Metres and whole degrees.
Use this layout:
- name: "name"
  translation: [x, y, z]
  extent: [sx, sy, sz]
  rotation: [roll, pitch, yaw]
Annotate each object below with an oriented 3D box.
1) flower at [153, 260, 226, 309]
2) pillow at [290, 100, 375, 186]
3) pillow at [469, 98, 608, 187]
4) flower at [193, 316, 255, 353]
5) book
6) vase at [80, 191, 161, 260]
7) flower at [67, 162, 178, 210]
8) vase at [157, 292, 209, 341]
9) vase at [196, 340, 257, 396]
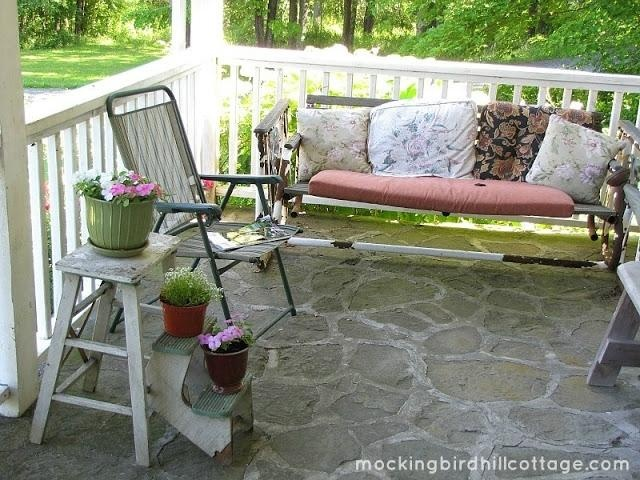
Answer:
- name: "flower"
  translation: [-0.483, 0.198, 1.933]
  extent: [0.163, 0.079, 0.167]
  rotation: [-6, -15, 29]
- name: "pillow"
  translation: [0.128, -0.703, 3.736]
  extent: [0.617, 0.506, 0.237]
  rotation: [3, -7, 32]
- name: "pillow"
  translation: [1.562, -0.610, 3.615]
  extent: [0.880, 0.202, 0.887]
  rotation: [-2, 55, 13]
- name: "flower"
  translation: [-0.352, 0.351, 1.820]
  extent: [0.167, 0.048, 0.154]
  rotation: [6, 24, 14]
- name: "book"
  translation: [-0.357, -0.014, 2.571]
  extent: [0.252, 0.047, 0.222]
  rotation: [-14, 18, -15]
- name: "vase"
  translation: [-0.719, -0.062, 1.870]
  extent: [0.257, 0.155, 0.246]
  rotation: [4, 9, -16]
- name: "flower"
  translation: [-0.720, -0.193, 1.790]
  extent: [0.263, 0.111, 0.190]
  rotation: [13, 29, 29]
- name: "vase"
  translation: [-0.506, 0.288, 1.903]
  extent: [0.165, 0.096, 0.167]
  rotation: [9, 9, 42]
- name: "vase"
  translation: [-0.351, 0.480, 1.829]
  extent: [0.188, 0.115, 0.154]
  rotation: [-4, -10, -1]
